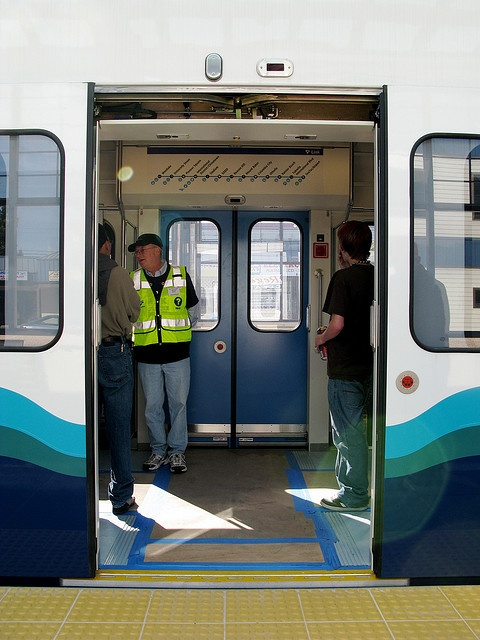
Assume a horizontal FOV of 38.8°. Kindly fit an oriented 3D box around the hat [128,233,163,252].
[{"bbox_3d":[-0.704,-0.590,5.103,0.186,0.107,0.135,10,-15,-24],"label":"hat"}]

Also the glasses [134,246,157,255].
[{"bbox_3d":[-0.691,-0.517,5.125,0.081,0.068,0.112,-4,-4,28],"label":"glasses"}]

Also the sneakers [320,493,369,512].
[{"bbox_3d":[0.669,1.157,4.370,0.307,0.151,0.113,7,-14,9],"label":"sneakers"}]

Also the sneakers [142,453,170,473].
[{"bbox_3d":[-0.658,1.104,5.252,0.073,0.097,0.210,-3,-9,26],"label":"sneakers"}]
